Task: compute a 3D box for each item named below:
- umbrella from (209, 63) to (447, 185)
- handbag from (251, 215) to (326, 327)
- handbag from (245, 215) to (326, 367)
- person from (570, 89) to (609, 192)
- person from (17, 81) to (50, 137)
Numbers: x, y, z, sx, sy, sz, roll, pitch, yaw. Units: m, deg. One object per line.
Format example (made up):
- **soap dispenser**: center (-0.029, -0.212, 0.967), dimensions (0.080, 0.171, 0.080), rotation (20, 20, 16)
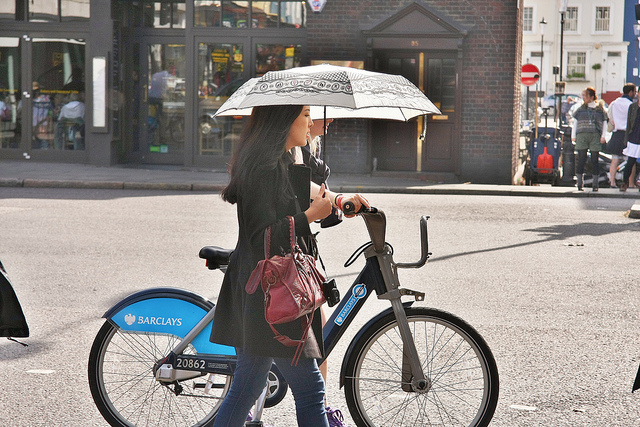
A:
- **umbrella**: center (-0.028, -1.314, 11.379), dimensions (1.826, 1.127, 1.830), rotation (2, 0, -32)
- **handbag**: center (-0.256, 0.578, 10.692), dimensions (0.530, 1.093, 1.060), rotation (-10, -2, 24)
- **handbag**: center (-0.316, 0.772, 10.705), dimensions (0.578, 1.406, 1.133), rotation (-4, 2, 18)
- **person**: center (6.218, -1.710, 23.504), dimensions (0.804, 2.310, 1.155), rotation (3, 5, 19)
- **person**: center (-7.535, -2.558, 27.089), dimensions (0.664, 1.911, 0.585), rotation (4, 30, -8)
